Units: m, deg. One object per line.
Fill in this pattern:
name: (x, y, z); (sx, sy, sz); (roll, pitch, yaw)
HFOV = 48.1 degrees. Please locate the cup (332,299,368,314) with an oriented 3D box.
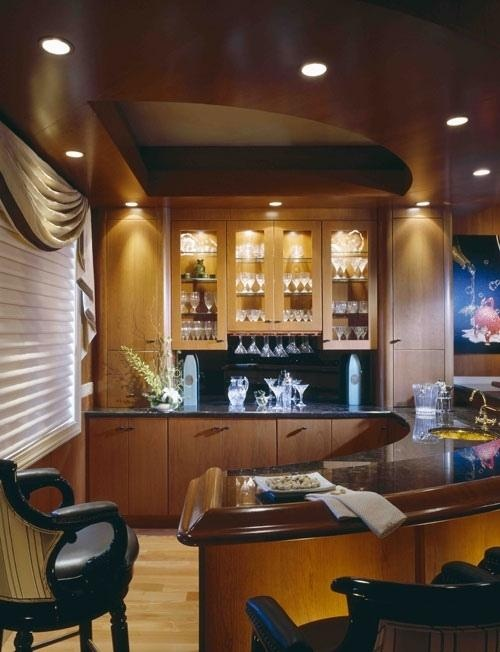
cup: (0.721, -0.126, 4.053); (0.162, 0.058, 0.123); (-2, -2, 33)

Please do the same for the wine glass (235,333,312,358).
wine glass: (0.182, 0.154, 4.255); (0.616, 0.169, 0.272); (0, -4, 1)

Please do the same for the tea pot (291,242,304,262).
tea pot: (0.341, -0.537, 4.054); (0.105, 0.195, 0.105); (-1, -1, 0)

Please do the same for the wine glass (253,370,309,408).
wine glass: (0.259, 0.493, 4.142); (0.369, 0.240, 0.240); (3, -6, -37)

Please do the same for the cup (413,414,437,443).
cup: (0.945, 0.557, 3.058); (0.123, 0.176, 0.120); (1, -10, 0)

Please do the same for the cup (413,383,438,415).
cup: (1.083, 0.462, 3.517); (0.181, 0.199, 0.183); (0, -5, 0)

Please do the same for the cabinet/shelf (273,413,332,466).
cabinet/shelf: (0.335, 0.742, 3.629); (0.391, 0.376, 0.178); (0, -2, 1)

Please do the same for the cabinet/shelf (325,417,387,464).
cabinet/shelf: (0.625, 0.687, 3.370); (0.340, 0.314, 0.120); (2, -4, -5)

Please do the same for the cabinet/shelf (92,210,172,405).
cabinet/shelf: (-0.849, -0.131, 3.951); (0.513, 1.398, 0.128); (-1, -4, 7)

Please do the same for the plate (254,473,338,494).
plate: (0.138, 0.500, 1.794); (0.230, 0.030, 0.263); (0, -5, -8)

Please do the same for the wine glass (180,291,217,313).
wine glass: (-0.374, -0.168, 4.044); (0.198, 0.140, 0.161); (-1, 0, 6)
